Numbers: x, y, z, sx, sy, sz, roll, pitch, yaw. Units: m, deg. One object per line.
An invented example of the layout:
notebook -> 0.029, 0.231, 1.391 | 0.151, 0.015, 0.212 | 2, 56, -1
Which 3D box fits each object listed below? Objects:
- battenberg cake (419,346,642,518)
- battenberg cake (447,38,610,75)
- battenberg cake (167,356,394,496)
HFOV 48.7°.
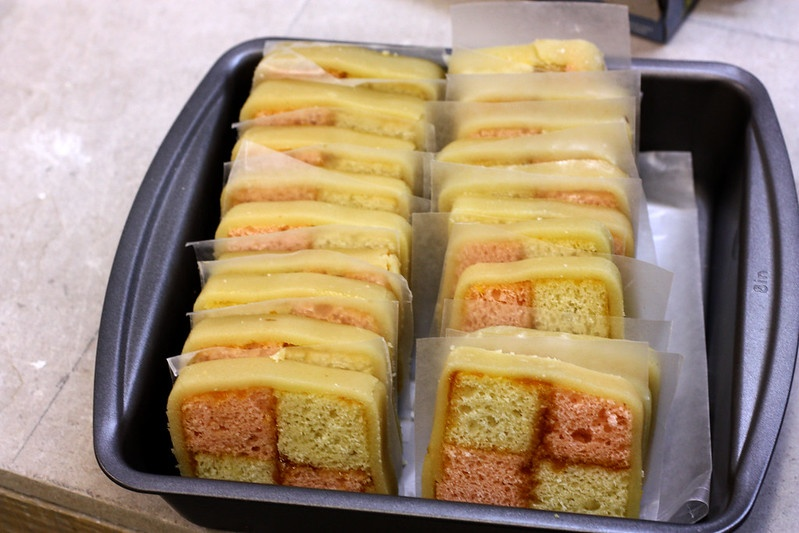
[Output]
battenberg cake -> 0.175, 0.213, 1.140 | 0.276, 0.100, 0.187 | 6, 73, 5
battenberg cake -> 0.192, -0.308, 1.344 | 0.191, 0.053, 0.091 | -2, 40, 6
battenberg cake -> -0.149, 0.202, 1.141 | 0.186, 0.159, 0.058 | 4, 39, 4
